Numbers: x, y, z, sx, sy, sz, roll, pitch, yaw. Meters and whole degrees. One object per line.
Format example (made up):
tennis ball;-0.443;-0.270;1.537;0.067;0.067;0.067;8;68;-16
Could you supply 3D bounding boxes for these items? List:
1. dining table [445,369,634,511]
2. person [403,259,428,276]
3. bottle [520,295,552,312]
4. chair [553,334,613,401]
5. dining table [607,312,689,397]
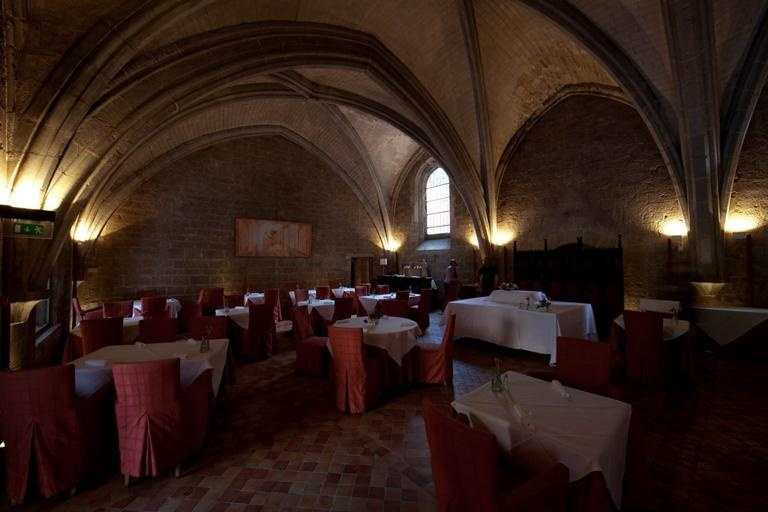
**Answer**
dining table;2.211;2.139;6.495;1.615;0.851;1.663;13;24;31
person;1.080;0.402;17.155;0.477;0.629;0.887;-1;0;-41
bottle;2.977;0.944;10.048;0.429;0.152;0.317;-2;0;43
chair;2.867;1.562;7.546;0.742;1.149;0.763;1;0;28
dining table;4.609;1.583;8.857;1.082;1.264;1.374;1;3;37
